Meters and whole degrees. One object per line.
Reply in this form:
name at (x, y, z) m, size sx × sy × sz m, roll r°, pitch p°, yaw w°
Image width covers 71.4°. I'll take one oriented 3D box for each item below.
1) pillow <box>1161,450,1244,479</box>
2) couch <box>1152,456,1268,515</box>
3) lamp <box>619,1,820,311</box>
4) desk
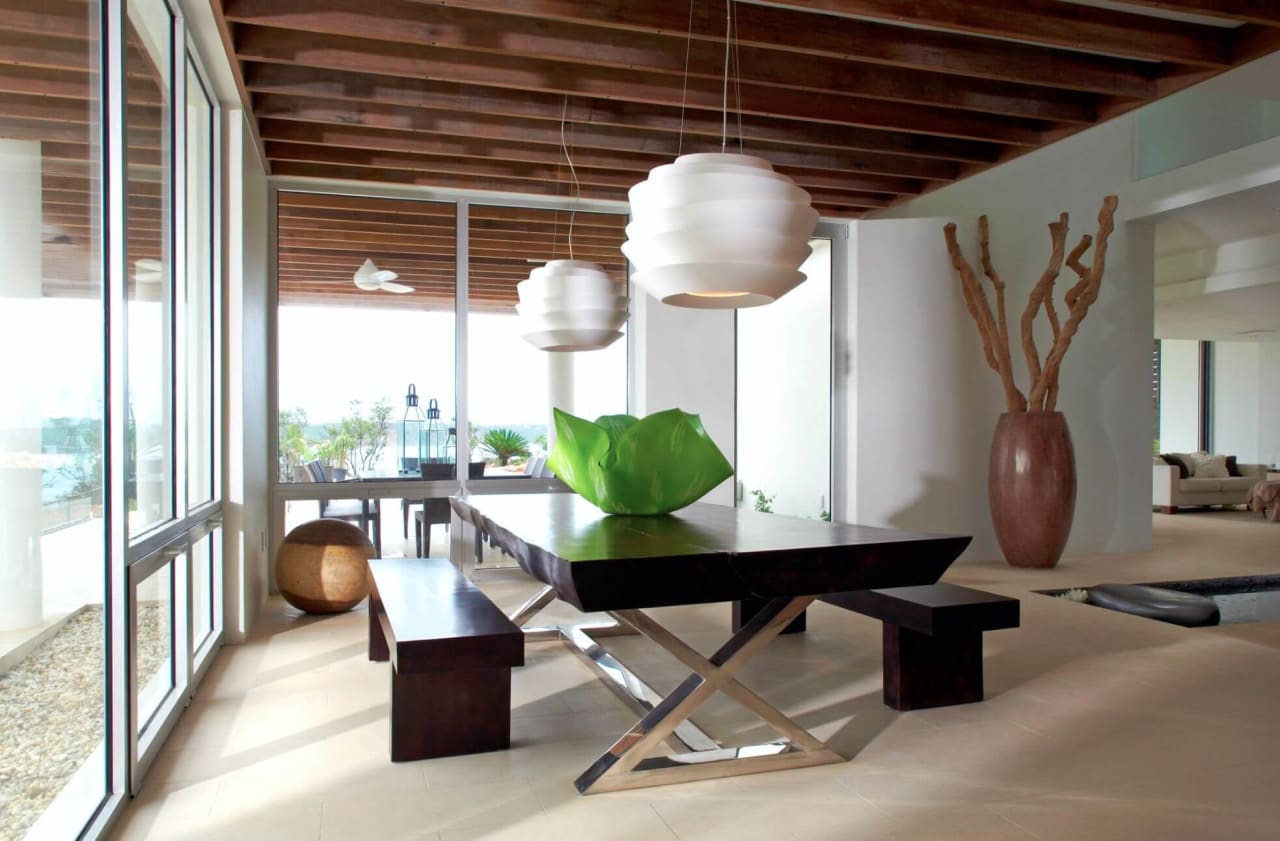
pillow at (7.539, 0.615, 11.963) m, size 0.698 × 0.178 × 0.533 m, roll 0°, pitch 1°, yaw -1°
couch at (7.495, 0.841, 11.867) m, size 1.483 × 0.728 × 0.594 m, roll -3°, pitch 9°, yaw -19°
lamp at (0.309, -0.857, 3.493) m, size 0.775 × 1.329 × 0.736 m, roll -3°, pitch -8°, yaw 27°
desk at (0.179, 0.924, 4.175) m, size 1.550 × 1.056 × 1.873 m, roll -5°, pitch 9°, yaw -26°
